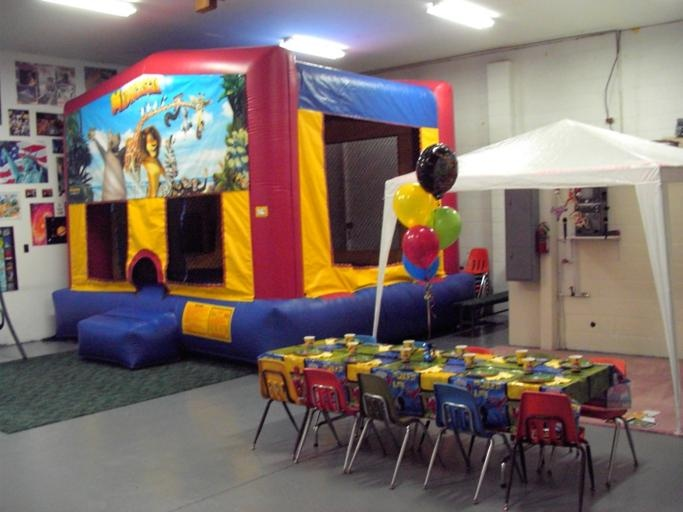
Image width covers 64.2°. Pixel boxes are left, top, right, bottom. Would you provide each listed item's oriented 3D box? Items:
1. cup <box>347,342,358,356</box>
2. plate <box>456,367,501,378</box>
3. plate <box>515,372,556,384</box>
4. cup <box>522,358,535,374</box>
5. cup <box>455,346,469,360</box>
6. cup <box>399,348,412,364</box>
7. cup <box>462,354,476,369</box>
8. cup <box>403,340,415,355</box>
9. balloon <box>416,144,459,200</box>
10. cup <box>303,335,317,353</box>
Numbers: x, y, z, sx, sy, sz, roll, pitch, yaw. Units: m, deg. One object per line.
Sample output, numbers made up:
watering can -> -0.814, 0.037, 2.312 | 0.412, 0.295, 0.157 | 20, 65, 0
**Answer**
cup -> 0.090, 0.778, 4.601 | 0.092, 0.109, 0.103 | -1, 10, 4
plate -> 1.034, 0.867, 4.070 | 0.273, 0.019, 0.247 | -2, 6, 9
plate -> 1.386, 0.873, 3.885 | 0.268, 0.014, 0.237 | -2, 6, 10
cup -> 1.402, 0.828, 4.095 | 0.086, 0.080, 0.094 | -2, 2, 0
cup -> 1.002, 0.803, 4.551 | 0.109, 0.084, 0.117 | -2, 0, 0
cup -> 0.524, 0.817, 4.465 | 0.097, 0.116, 0.105 | 0, 2, 0
cup -> 0.993, 0.826, 4.242 | 0.099, 0.080, 0.100 | -2, 4, 0
cup -> 0.555, 0.755, 4.527 | 0.095, 0.096, 0.098 | 1, -4, 0
balloon -> 0.881, -0.779, 5.047 | 0.377, 0.517, 0.268 | -3, 6, -2
cup -> -0.307, 0.800, 4.954 | 0.129, 0.139, 0.139 | -2, 5, 0
